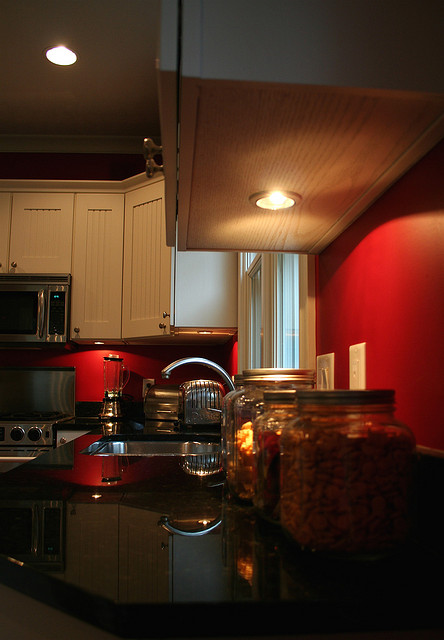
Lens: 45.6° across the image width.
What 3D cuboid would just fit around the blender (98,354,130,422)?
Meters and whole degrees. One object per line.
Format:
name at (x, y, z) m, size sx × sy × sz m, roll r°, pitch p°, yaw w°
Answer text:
blender at (-0.629, 0.393, 3.098) m, size 0.172 × 0.362 × 0.601 m, roll 3°, pitch -3°, yaw -10°

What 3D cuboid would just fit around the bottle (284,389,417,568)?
bottle at (0.138, 0.157, 0.513) m, size 0.127 × 0.157 × 0.127 m, roll 17°, pitch -23°, yaw -21°

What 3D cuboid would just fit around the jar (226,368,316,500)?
jar at (0.073, 0.166, 0.746) m, size 0.136 × 0.189 × 0.151 m, roll 8°, pitch -13°, yaw -17°

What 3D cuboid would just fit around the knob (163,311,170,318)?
knob at (-0.290, -0.025, 2.756) m, size 0.042 × 0.029 × 0.015 m, roll 0°, pitch -4°, yaw 37°

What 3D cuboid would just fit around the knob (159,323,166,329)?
knob at (-0.307, 0.031, 2.753) m, size 0.019 × 0.028 × 0.007 m, roll 0°, pitch 6°, yaw 12°

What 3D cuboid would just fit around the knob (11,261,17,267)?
knob at (-1.196, -0.316, 3.049) m, size 0.031 × 0.027 × 0.042 m, roll 4°, pitch -3°, yaw -25°

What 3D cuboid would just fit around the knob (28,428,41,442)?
knob at (-0.926, 0.569, 2.618) m, size 0.065 × 0.068 × 0.022 m, roll 1°, pitch 2°, yaw 2°

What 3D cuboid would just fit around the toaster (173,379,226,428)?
toaster at (-0.084, 0.315, 2.153) m, size 0.271 × 0.253 × 0.154 m, roll 2°, pitch -1°, yaw 0°

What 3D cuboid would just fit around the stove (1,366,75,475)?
stove at (-1.108, 0.514, 2.969) m, size 0.468 × 0.471 × 0.817 m, roll 3°, pitch -3°, yaw -9°

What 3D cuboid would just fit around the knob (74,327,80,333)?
knob at (-0.838, 0.058, 3.064) m, size 0.034 × 0.035 × 0.025 m, roll 0°, pitch 3°, yaw 17°
